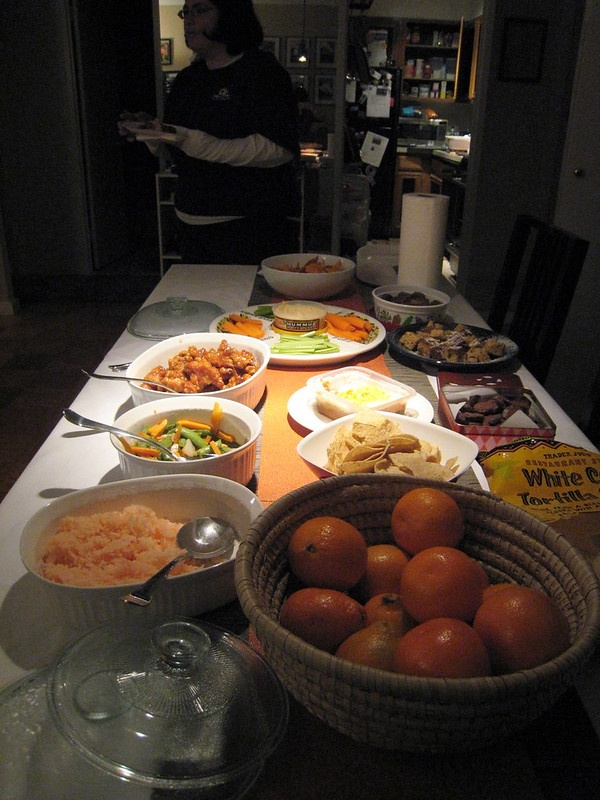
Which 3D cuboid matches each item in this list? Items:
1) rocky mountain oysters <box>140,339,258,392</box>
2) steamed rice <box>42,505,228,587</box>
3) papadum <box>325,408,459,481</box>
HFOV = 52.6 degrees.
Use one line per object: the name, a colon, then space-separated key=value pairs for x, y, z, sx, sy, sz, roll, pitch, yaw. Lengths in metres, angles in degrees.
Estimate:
rocky mountain oysters: x=-0.181 y=-0.087 z=1.176 sx=0.122 sy=0.047 sz=0.145 roll=-8 pitch=15 yaw=-17
steamed rice: x=-0.202 y=0.163 z=0.666 sx=0.158 sy=0.030 sz=0.122 roll=-9 pitch=30 yaw=-23
papadum: x=0.147 y=0.062 z=0.915 sx=0.183 sy=0.078 sz=0.137 roll=-9 pitch=20 yaw=-29
